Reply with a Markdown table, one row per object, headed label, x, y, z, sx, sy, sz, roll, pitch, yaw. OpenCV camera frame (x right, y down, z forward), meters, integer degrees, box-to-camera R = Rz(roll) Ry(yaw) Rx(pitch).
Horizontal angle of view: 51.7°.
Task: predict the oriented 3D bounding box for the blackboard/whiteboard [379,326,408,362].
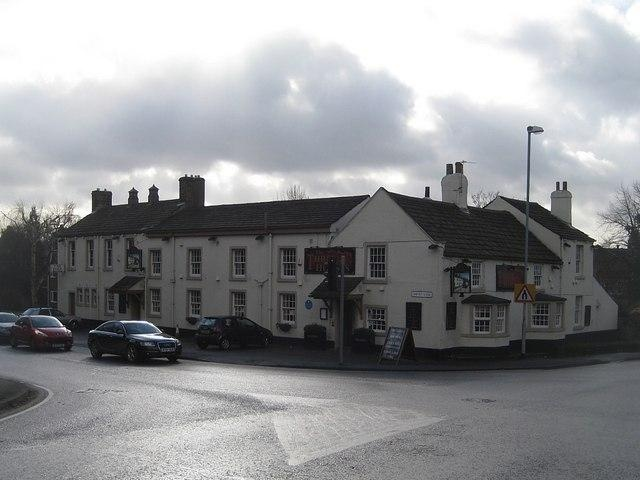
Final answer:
| label | x | y | z | sx | sy | sz | roll | pitch | yaw |
| --- | --- | --- | --- | --- | --- | --- | --- | --- | --- |
| blackboard/whiteboard | 3.351 | 4.733 | 29.304 | 0.790 | 1.643 | 1.054 | 20 | -15 | -42 |

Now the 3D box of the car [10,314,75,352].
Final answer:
| label | x | y | z | sx | sy | sz | roll | pitch | yaw |
| --- | --- | --- | --- | --- | --- | --- | --- | --- | --- |
| car | -14.485 | 4.798 | 34.103 | 1.678 | 1.347 | 3.005 | 4 | -8 | -36 |

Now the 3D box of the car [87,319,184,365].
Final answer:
| label | x | y | z | sx | sy | sz | roll | pitch | yaw |
| --- | --- | --- | --- | --- | --- | --- | --- | --- | --- |
| car | -8.336 | 4.513 | 29.534 | 4.417 | 1.781 | 1.659 | -5 | -9 | 38 |

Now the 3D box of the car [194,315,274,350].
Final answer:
| label | x | y | z | sx | sy | sz | roll | pitch | yaw |
| --- | --- | --- | --- | --- | --- | --- | --- | --- | --- |
| car | -4.728 | 5.017 | 35.825 | 3.656 | 1.755 | 1.283 | 5 | -8 | -32 |

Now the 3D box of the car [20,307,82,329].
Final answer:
| label | x | y | z | sx | sy | sz | roll | pitch | yaw |
| --- | --- | --- | --- | --- | --- | --- | --- | --- | --- |
| car | -18.813 | 5.693 | 46.195 | 3.911 | 1.692 | 1.838 | 1 | -1 | -33 |
